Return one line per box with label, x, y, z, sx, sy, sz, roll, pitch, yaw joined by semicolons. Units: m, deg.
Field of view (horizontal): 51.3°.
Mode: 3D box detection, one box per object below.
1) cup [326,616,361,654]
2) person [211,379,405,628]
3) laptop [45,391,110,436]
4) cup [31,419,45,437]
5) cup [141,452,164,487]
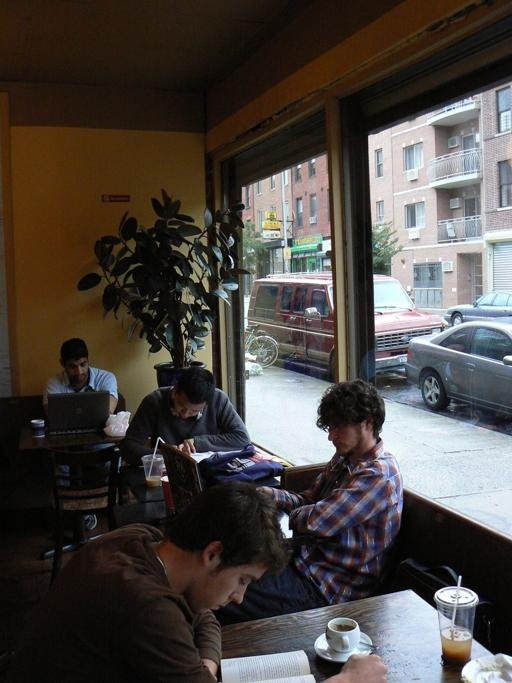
cup;0.193;0.652;1.190;0.050;0.040;0.075;1;9;5
person;0.154;0.706;2.063;0.761;1.093;0.462;6;-3;-5
laptop;-1.165;0.466;3.497;0.386;0.267;0.279;2;14;-16
cup;-1.439;0.577;3.569;0.127;0.106;0.080;1;-3;-14
cup;-0.494;0.600;2.554;0.141;0.134;0.139;-2;5;0
